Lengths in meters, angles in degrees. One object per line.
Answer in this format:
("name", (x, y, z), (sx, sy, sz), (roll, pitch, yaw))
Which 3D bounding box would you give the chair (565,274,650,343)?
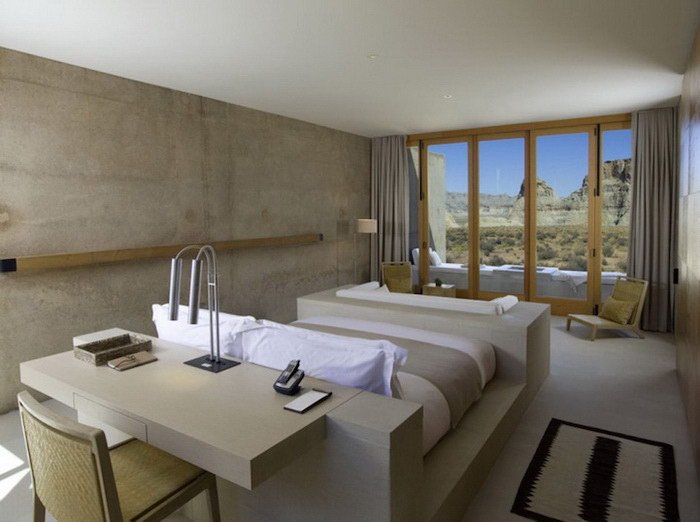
("chair", (3.308, 0.573, 6.028), (0.951, 0.928, 0.652), (-1, 0, -19))

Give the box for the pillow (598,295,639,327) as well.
("pillow", (3.289, 0.599, 5.766), (0.272, 0.263, 0.341), (-3, 12, -18))

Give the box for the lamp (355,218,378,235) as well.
("lamp", (0.250, -0.526, 6.985), (0.251, 0.173, 0.261), (-1, 4, 4))

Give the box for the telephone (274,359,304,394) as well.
("telephone", (-0.300, 0.586, 2.340), (0.111, 0.061, 0.162), (3, 26, 21))

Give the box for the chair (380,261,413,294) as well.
("chair", (0.770, 0.245, 7.568), (0.477, 0.693, 0.487), (-2, 1, 8))
